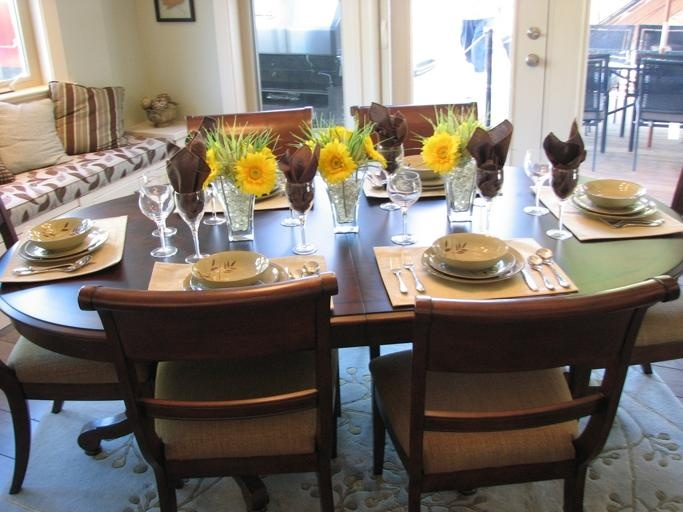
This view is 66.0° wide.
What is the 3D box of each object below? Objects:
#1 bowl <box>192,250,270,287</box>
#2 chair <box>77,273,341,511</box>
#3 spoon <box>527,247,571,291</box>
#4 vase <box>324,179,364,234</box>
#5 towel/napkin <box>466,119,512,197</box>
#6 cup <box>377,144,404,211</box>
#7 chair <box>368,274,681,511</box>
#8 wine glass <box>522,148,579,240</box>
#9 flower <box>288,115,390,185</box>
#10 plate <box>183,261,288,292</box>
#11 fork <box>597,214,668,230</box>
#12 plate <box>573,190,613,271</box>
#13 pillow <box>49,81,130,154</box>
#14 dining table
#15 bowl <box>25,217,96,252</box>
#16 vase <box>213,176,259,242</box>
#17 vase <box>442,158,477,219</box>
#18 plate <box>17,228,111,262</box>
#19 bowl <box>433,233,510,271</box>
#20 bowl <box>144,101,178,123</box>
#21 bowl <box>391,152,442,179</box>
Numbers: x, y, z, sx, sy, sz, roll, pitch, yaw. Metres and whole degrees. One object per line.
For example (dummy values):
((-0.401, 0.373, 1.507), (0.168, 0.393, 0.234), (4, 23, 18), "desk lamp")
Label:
((-0.308, 0.043, 1.394), (0.183, 0.049, 0.176), (-1, 26, 0), "bowl")
((-0.265, 0.428, 1.431), (0.522, 0.965, 0.426), (-5, 23, -5), "chair")
((0.562, 0.026, 1.431), (0.050, 0.019, 0.131), (-3, 32, -2), "spoon")
((0.011, -0.180, 1.731), (0.164, 0.222, 0.139), (1, 25, 0), "vase")
((0.460, -0.278, 1.623), (0.109, 0.190, 0.132), (-17, 26, -31), "towel/napkin")
((0.215, -0.280, 1.903), (0.086, 0.198, 0.087), (-16, 35, 11), "cup")
((0.394, 0.320, 1.382), (0.613, 0.726, 0.485), (-4, 23, -1), "chair")
((0.688, -0.195, 1.725), (0.111, 0.250, 0.293), (-11, 23, -11), "wine glass")
((-0.004, -0.353, 1.670), (0.215, 0.139, 0.262), (-1, 7, 40), "flower")
((-0.258, 0.062, 1.391), (0.130, 0.028, 0.125), (-11, 24, -33), "plate")
((0.927, -0.108, 1.670), (0.251, 0.047, 0.037), (-3, 9, 2), "fork")
((0.776, -0.074, 1.624), (0.125, 0.011, 0.314), (5, 32, 14), "plate")
((-1.857, -1.021, 3.859), (0.202, 0.509, 0.562), (22, 26, 27), "pillow")
((0.013, 0.147, 1.467), (1.018, 0.251, 0.585), (-5, 35, -5), "dining table")
((-0.888, -0.057, 1.671), (0.192, 0.059, 0.184), (-4, 22, 2), "bowl")
((-0.334, -0.161, 1.703), (0.173, 0.213, 0.181), (1, 5, 20), "vase")
((0.405, -0.220, 1.783), (0.138, 0.215, 0.142), (-1, -3, 19), "vase")
((-0.870, -0.023, 1.639), (0.144, 0.029, 0.135), (-2, 27, -12), "plate")
((0.390, -0.006, 1.555), (0.228, 0.049, 0.222), (12, -13, 3), "bowl")
((-1.441, -1.135, 4.259), (0.198, 0.129, 0.194), (-18, 28, 10), "bowl")
((0.329, -0.376, 2.121), (0.145, 0.035, 0.139), (-1, 26, 0), "bowl")
